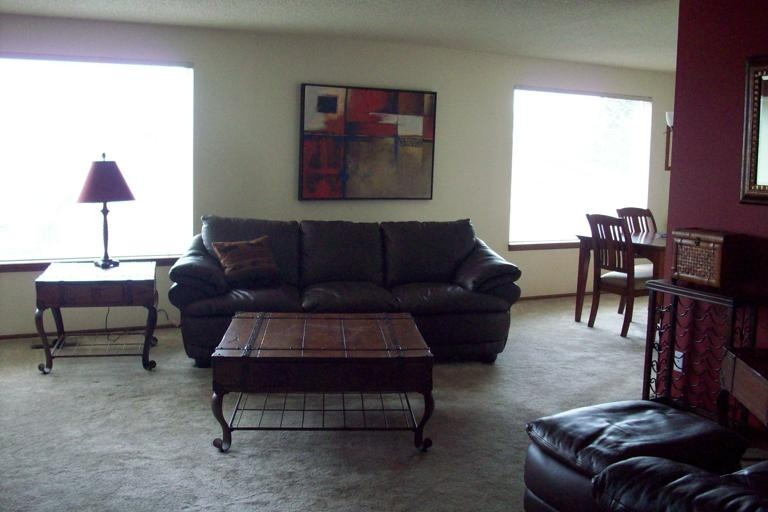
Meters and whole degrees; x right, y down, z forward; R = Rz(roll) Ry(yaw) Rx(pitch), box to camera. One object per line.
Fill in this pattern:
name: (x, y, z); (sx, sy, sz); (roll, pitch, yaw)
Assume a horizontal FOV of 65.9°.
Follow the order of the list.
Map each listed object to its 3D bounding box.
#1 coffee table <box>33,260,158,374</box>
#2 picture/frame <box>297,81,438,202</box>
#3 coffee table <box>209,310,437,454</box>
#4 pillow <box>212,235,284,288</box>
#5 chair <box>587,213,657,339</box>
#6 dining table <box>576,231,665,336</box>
coffee table: (-2.439, 0.636, 5.159); (1.128, 0.926, 0.923); (0, 15, -12)
picture/frame: (-0.239, -1.224, 6.177); (1.404, 0.993, 0.058); (1, 9, -14)
coffee table: (-0.404, 0.863, 4.122); (1.430, 0.753, 0.770); (-2, 9, -1)
pillow: (-1.214, 0.056, 5.240); (0.458, 0.396, 0.357); (-7, 11, -30)
chair: (2.372, 0.168, 5.987); (0.639, 1.176, 0.569); (3, 11, 26)
dining table: (2.342, 0.271, 5.880); (0.736, 0.858, 0.945); (-6, 12, -28)
